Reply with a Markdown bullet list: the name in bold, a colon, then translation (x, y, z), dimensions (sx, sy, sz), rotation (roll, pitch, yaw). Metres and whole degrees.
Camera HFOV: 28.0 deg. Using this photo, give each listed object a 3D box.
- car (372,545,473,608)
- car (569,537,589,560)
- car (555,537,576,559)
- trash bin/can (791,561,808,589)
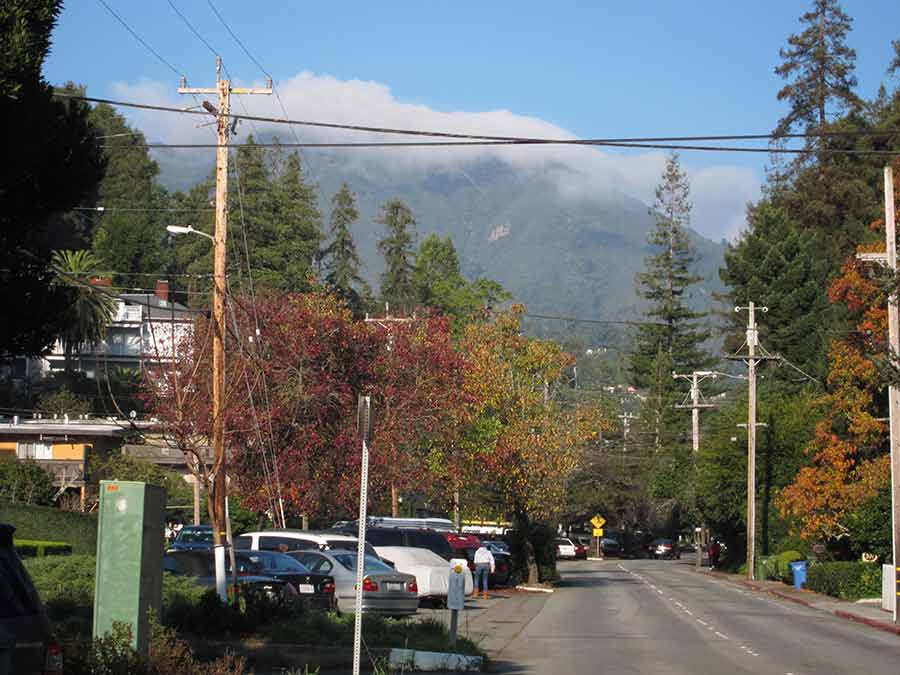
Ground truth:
- **car**: translation (-1.542, 9.334, 73.388), dimensions (3.024, 2.681, 3.425), rotation (-5, -11, 16)
- **car**: translation (8.609, 14.191, 123.074), dimensions (1.079, 1.123, 2.689), rotation (1, 1, 8)
- **car**: translation (7.786, 13.910, 121.571), dimensions (1.254, 1.455, 3.747), rotation (0, -9, 4)
- **trash bin/can**: translation (16.956, 11.402, 87.962), dimensions (0.871, 1.591, 0.981), rotation (2, -13, -2)
